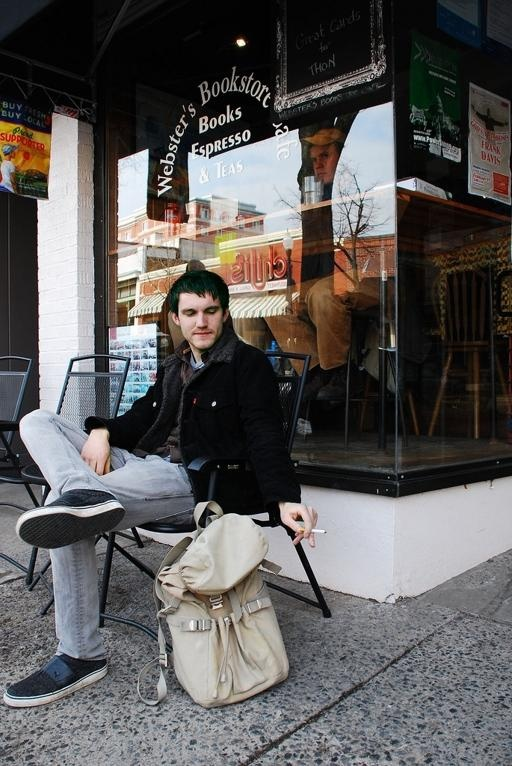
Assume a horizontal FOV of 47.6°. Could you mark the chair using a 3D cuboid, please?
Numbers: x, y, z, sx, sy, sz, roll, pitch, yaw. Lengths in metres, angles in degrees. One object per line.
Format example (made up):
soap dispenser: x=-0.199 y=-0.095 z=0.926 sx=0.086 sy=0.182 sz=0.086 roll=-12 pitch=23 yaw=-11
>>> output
chair: x=-0.239 y=0.387 z=1.836 sx=0.916 sy=0.654 sz=0.373 roll=-2 pitch=-3 yaw=42

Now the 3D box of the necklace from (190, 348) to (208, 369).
necklace: x=-0.196 y=-0.076 z=1.965 sx=0.052 sy=0.081 sz=0.040 roll=3 pitch=23 yaw=4

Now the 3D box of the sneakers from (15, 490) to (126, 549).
sneakers: x=-0.413 y=0.309 z=1.371 sx=0.262 sy=0.121 sz=0.123 roll=0 pitch=32 yaw=-34

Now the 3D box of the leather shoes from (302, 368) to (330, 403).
leather shoes: x=0.255 y=0.018 z=2.485 sx=0.174 sy=0.140 sz=0.074 roll=-1 pitch=5 yaw=-24

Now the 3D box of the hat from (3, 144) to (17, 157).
hat: x=-1.511 y=-1.436 z=3.575 sx=0.041 sy=0.073 sz=0.091 roll=-1 pitch=-2 yaw=36

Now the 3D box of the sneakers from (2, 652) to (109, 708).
sneakers: x=-0.500 y=0.722 z=1.483 sx=0.088 sy=0.095 sz=0.246 roll=0 pitch=-4 yaw=40

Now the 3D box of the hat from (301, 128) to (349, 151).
hat: x=0.301 y=-1.032 z=2.494 sx=0.135 sy=0.058 sz=0.095 roll=-3 pitch=15 yaw=-21
